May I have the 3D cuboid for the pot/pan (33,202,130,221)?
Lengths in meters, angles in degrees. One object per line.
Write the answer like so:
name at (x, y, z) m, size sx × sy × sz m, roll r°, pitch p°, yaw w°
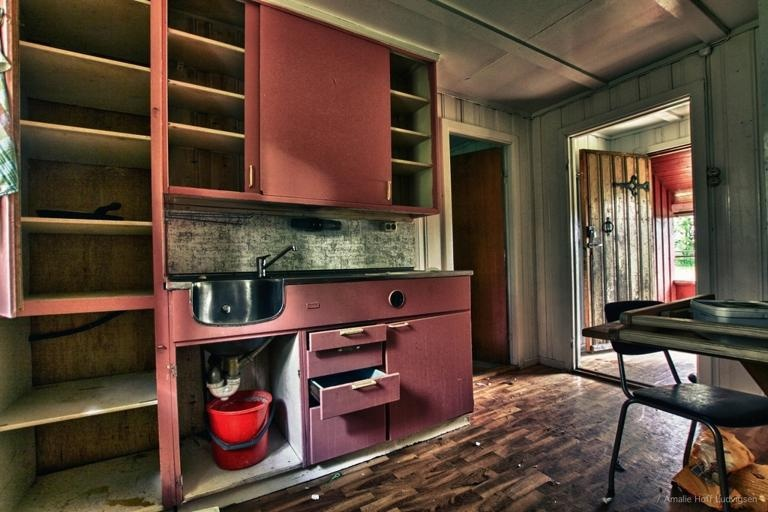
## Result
pot/pan at (-2.040, -0.282, 3.759) m, size 0.387 × 0.114 × 0.222 m, roll 5°, pitch -10°, yaw -40°

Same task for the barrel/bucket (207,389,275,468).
barrel/bucket at (-0.922, 1.184, 3.800) m, size 0.482 × 0.333 × 0.474 m, roll 0°, pitch 1°, yaw 0°

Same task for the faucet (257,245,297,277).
faucet at (-0.783, 0.035, 4.074) m, size 0.306 × 0.220 × 0.457 m, roll -5°, pitch 0°, yaw -9°

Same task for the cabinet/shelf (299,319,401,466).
cabinet/shelf at (-0.233, 0.940, 3.854) m, size 0.675 × 0.934 × 0.390 m, roll -6°, pitch 0°, yaw -11°
